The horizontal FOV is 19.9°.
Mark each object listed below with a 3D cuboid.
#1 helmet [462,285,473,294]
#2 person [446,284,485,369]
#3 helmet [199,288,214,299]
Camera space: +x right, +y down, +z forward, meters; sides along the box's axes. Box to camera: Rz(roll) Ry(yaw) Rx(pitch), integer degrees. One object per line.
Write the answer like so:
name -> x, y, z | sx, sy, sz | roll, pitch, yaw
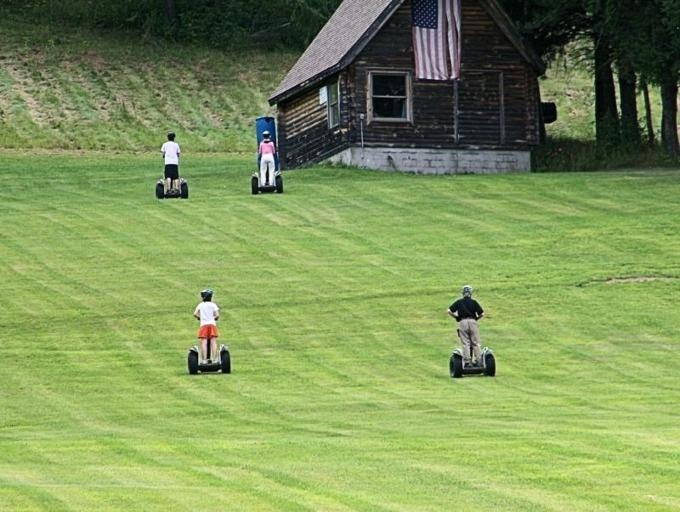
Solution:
helmet -> 3.864, 0.982, 58.942 | 0.223, 0.274, 0.275 | -1, -16, 4
person -> 3.882, 2.084, 59.066 | 0.944, 2.400, 0.548 | -1, 3, 6
helmet -> -4.059, 1.137, 58.995 | 0.375, 0.362, 0.315 | -5, 7, -2
